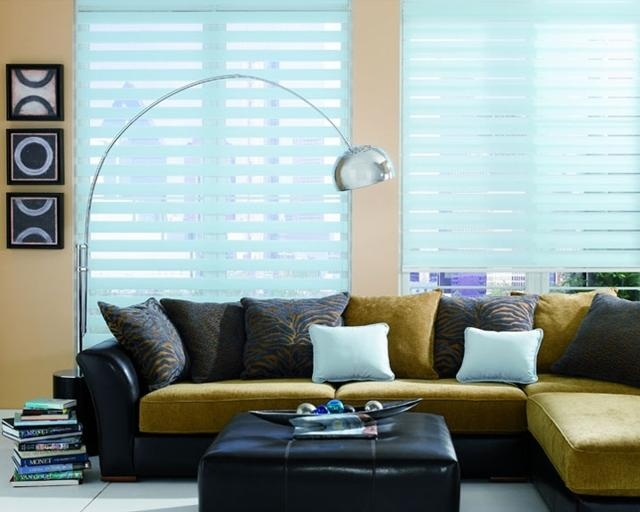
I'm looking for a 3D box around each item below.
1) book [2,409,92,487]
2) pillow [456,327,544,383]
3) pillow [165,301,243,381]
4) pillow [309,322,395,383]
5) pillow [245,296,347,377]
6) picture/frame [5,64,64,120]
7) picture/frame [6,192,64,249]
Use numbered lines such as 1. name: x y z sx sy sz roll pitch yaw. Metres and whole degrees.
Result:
1. book: -1.577 1.149 4.496 0.648 0.457 0.480 1 -5 -10
2. pillow: 1.147 0.629 4.532 0.474 0.247 0.137 2 -8 11
3. pillow: -0.807 0.580 4.836 0.685 0.466 0.183 0 -21 -31
4. pillow: 0.196 0.631 4.600 0.521 0.264 0.148 -1 -9 -2
5. pillow: -0.167 0.548 4.724 0.695 0.373 0.235 -3 -4 -5
6. picture/frame: -2.127 -1.224 5.365 0.625 0.417 0.054 0 3 0
7. picture/frame: -2.122 -0.271 5.360 0.620 0.412 0.053 0 0 -1
